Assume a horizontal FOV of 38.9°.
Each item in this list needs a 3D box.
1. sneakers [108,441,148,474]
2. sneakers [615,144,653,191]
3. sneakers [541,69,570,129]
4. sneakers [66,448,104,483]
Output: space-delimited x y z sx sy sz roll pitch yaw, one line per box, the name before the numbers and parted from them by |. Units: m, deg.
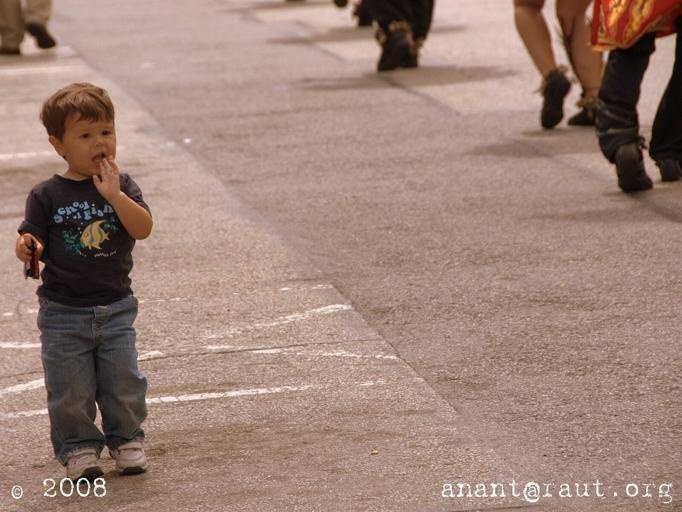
sneakers | -0.804 0.779 3.695 0.093 0.069 0.190 0 -5 -17
sneakers | 2.001 -0.595 6.674 0.189 0.406 0.166 -16 44 19
sneakers | 1.850 -1.366 8.420 0.234 0.481 0.275 6 1 -37
sneakers | -0.951 0.792 3.634 0.097 0.065 0.180 -2 -3 -19
